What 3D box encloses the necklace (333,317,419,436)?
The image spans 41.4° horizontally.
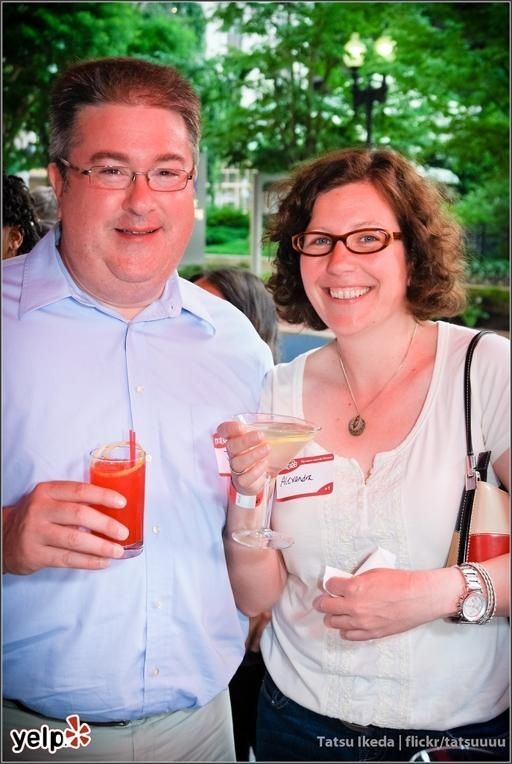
[{"bbox_3d":[0.326,-0.012,1.956,0.182,0.308,0.232,12,20,26],"label":"necklace"}]

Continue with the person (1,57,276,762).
[{"bbox_3d":[-0.373,0.116,1.940,0.623,2.038,0.864,6,12,35],"label":"person"}]

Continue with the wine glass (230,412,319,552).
[{"bbox_3d":[0.042,0.261,1.764,0.210,0.371,0.315,-1,10,-2],"label":"wine glass"}]

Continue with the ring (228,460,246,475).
[{"bbox_3d":[-0.046,0.218,1.706,0.035,0.039,0.036,-1,4,0],"label":"ring"}]

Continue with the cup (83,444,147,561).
[{"bbox_3d":[-0.310,0.269,1.547,0.121,0.267,0.146,-3,10,-13],"label":"cup"}]

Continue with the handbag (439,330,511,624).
[{"bbox_3d":[0.571,0.231,1.726,0.144,0.684,0.359,2,10,16],"label":"handbag"}]

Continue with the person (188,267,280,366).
[{"bbox_3d":[-0.058,-0.339,3.590,0.564,0.659,0.503,0,4,2],"label":"person"}]
